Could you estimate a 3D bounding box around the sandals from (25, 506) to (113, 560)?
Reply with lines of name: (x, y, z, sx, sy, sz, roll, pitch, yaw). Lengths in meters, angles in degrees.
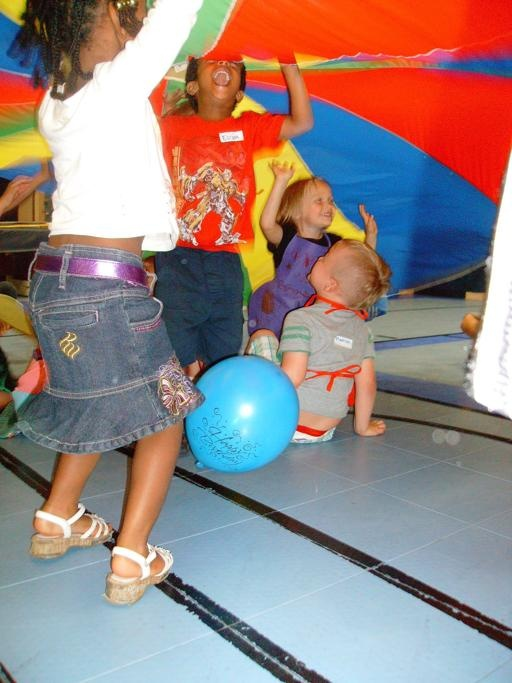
sandals: (-0.431, 0.446, 1.229, 0.206, 0.091, 0.089, -1, 4, -39)

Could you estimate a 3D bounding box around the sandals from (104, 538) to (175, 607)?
sandals: (-0.224, 0.451, 1.048, 0.076, 0.101, 0.159, 14, 24, 31)
